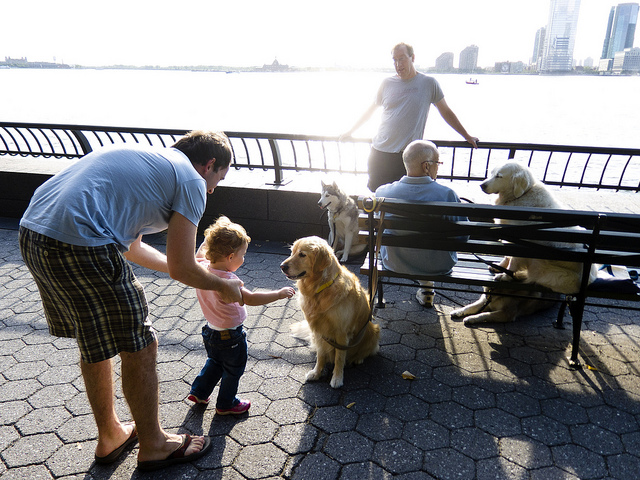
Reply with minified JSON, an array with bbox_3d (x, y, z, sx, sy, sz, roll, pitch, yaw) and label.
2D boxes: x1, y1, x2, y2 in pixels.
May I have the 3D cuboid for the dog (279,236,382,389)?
[{"bbox_3d":[0.136,0.621,4.794,1.016,1.352,1.607,3,8,10],"label":"dog"}]

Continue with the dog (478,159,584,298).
[{"bbox_3d":[2.269,-0.153,4.790,1.122,1.207,1.158,7,6,34],"label":"dog"}]

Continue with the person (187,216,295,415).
[{"bbox_3d":[-0.727,0.657,3.831,0.863,1.504,0.689,3,3,28],"label":"person"}]

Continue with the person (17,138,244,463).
[{"bbox_3d":[-1.252,0.497,3.335,1.311,2.207,0.814,-13,28,-21],"label":"person"}]
